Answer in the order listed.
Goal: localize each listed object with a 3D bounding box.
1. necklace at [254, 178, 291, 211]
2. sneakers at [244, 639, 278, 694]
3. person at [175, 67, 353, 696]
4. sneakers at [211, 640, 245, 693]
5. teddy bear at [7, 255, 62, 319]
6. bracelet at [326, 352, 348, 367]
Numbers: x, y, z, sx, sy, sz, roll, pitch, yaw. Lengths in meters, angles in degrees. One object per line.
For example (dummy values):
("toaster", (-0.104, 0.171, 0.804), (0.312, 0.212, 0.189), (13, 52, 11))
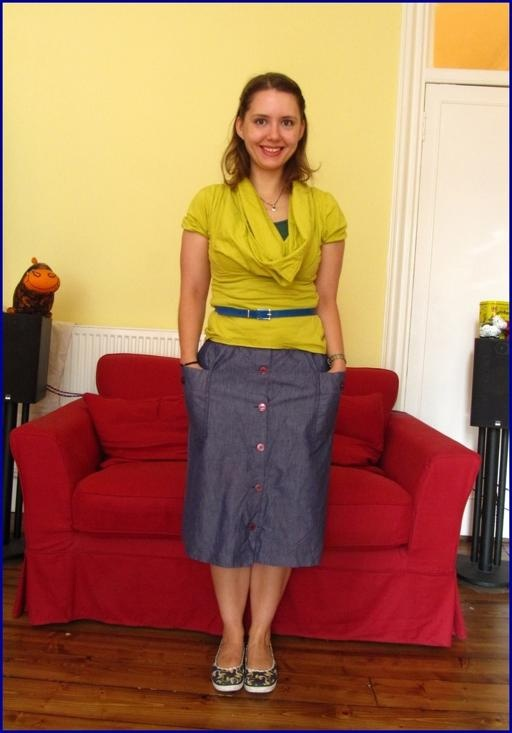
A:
("necklace", (0.037, -0.430, 1.507), (0.081, 0.114, 0.052), (-4, -31, -19))
("sneakers", (0.010, 0.759, 1.507), (0.095, 0.076, 0.275), (0, -7, 1))
("person", (0.024, -0.112, 1.520), (0.435, 1.189, 0.274), (2, 5, -9))
("sneakers", (-0.067, 0.758, 1.505), (0.092, 0.074, 0.265), (1, -6, 1))
("teddy bear", (-0.884, -0.311, 2.374), (0.161, 0.232, 0.239), (0, 6, -30))
("bracelet", (0.220, -0.013, 1.592), (0.043, 0.028, 0.042), (-5, -14, 5))
